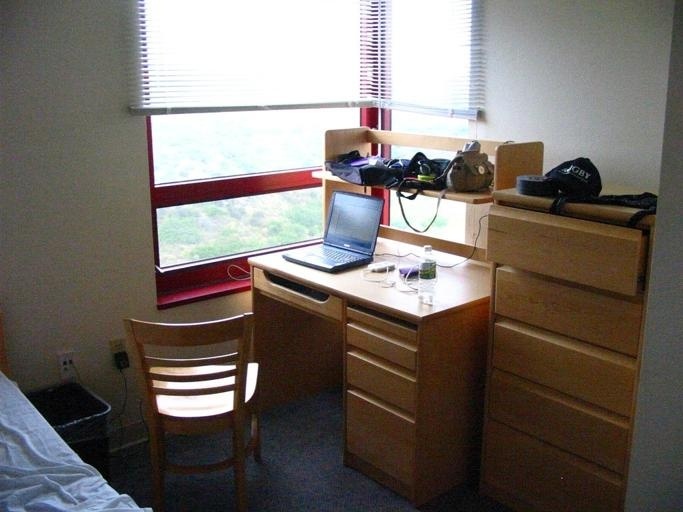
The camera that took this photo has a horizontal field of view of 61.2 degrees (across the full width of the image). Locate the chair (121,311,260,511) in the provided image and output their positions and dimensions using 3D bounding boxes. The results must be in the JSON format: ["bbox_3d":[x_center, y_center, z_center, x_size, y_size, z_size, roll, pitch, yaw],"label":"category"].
[{"bbox_3d":[-0.661,0.640,2.745,0.523,0.997,0.747,-4,19,-9],"label":"chair"}]

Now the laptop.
[{"bbox_3d":[-0.052,-0.145,3.110,0.459,0.329,0.506,-10,17,-25],"label":"laptop"}]

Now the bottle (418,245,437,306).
[{"bbox_3d":[0.401,0.066,2.665,0.089,0.224,0.304,2,18,8],"label":"bottle"}]

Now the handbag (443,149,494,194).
[{"bbox_3d":[0.634,-0.421,2.848,0.198,0.213,0.310,9,15,40],"label":"handbag"}]
